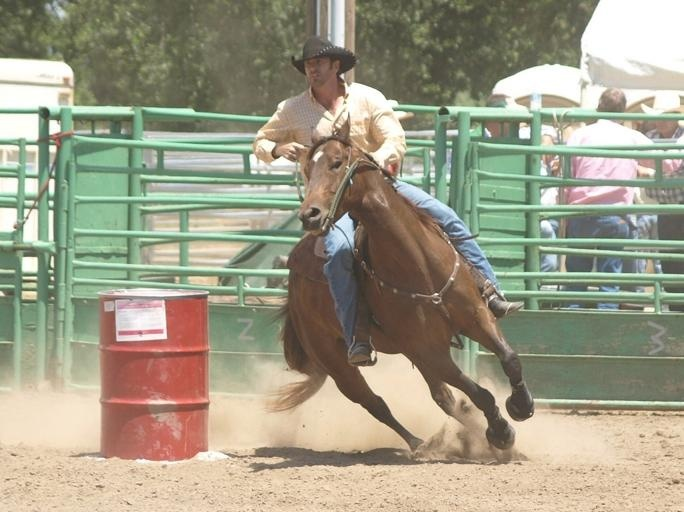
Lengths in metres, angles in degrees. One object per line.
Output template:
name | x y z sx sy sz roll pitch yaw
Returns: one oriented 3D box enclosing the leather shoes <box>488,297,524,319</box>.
leather shoes | 1.637 0.498 14.764 0.452 0.198 0.149 -12 13 22
